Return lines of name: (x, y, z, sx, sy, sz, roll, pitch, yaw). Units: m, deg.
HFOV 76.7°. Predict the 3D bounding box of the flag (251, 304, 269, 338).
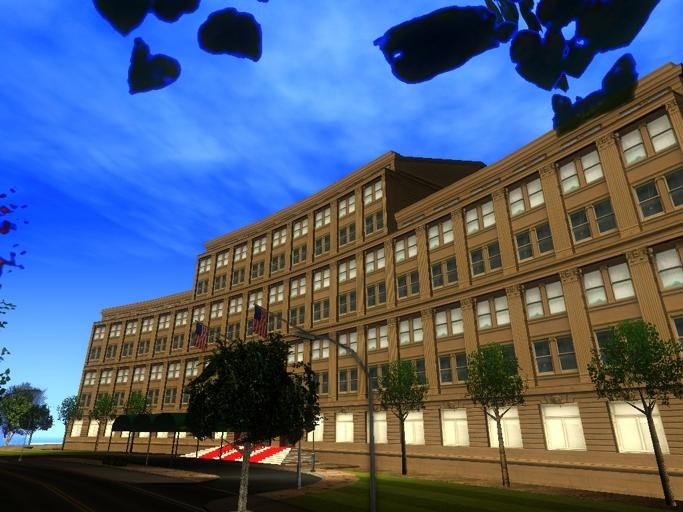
flag: (-5.748, 4.670, 31.152, 1.680, 1.833, 0.080, 6, 0, 41)
